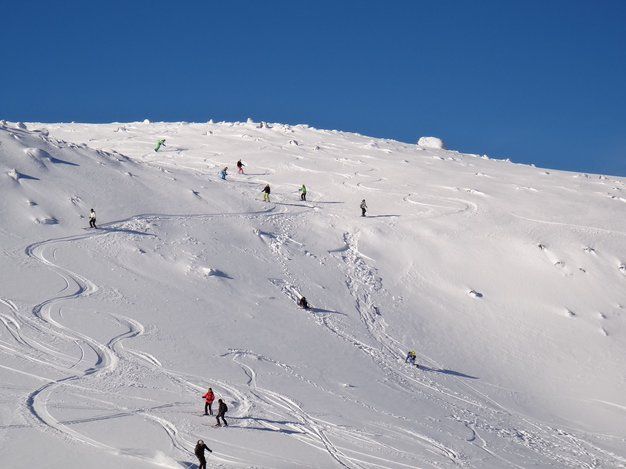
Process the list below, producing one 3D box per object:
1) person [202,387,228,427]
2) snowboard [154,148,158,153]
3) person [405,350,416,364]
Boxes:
[{"bbox_3d":[-4.850,8.547,45.662,1.184,0.863,1.722,16,41,-22],"label":"person"},{"bbox_3d":[-14.291,-7.725,84.737,0.401,0.253,0.153,5,7,6],"label":"snowboard"},{"bbox_3d":[5.743,7.095,54.772,0.628,0.841,1.066,6,26,4],"label":"person"}]
